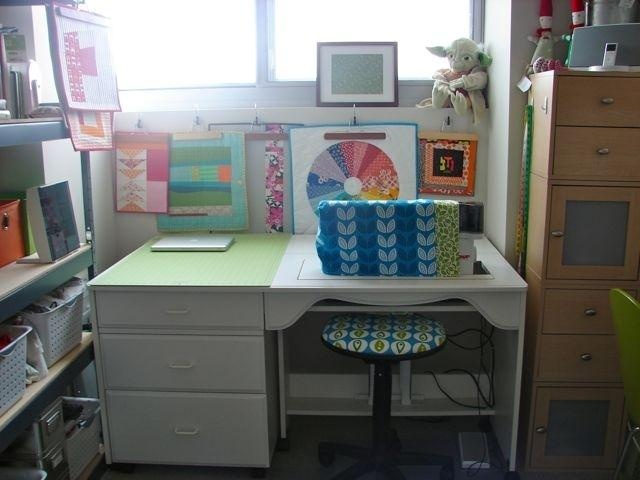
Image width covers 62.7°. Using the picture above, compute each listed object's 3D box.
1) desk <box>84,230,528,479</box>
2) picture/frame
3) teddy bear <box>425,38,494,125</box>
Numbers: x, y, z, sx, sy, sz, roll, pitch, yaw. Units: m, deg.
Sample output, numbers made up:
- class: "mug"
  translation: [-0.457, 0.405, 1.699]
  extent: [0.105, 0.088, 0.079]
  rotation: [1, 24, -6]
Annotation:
- class: "desk"
  translation: [-0.319, 0.475, 2.548]
  extent: [2.002, 0.972, 0.951]
  rotation: [0, 12, 1]
- class: "picture/frame"
  translation: [0.188, -0.806, 2.553]
  extent: [0.329, 0.252, 0.024]
  rotation: [0, 2, 3]
- class: "teddy bear"
  translation: [0.672, -0.743, 2.493]
  extent: [0.332, 0.318, 0.249]
  rotation: [19, 41, 32]
